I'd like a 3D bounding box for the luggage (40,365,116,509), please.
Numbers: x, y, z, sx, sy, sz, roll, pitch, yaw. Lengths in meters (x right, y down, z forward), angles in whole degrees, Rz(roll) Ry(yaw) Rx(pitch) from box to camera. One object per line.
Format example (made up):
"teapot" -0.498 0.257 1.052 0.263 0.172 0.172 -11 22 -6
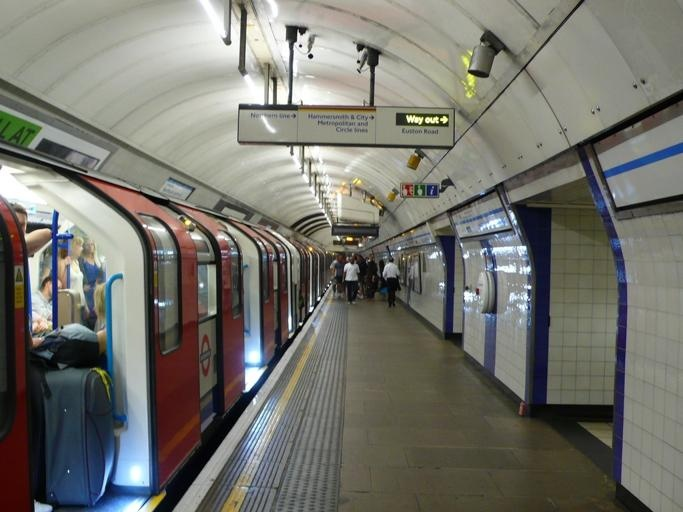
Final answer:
"luggage" -2.322 1.599 4.136 0.563 1.209 0.193 2 3 -3

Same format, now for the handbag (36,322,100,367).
"handbag" -2.490 0.825 4.228 0.421 0.215 0.361 4 3 16
